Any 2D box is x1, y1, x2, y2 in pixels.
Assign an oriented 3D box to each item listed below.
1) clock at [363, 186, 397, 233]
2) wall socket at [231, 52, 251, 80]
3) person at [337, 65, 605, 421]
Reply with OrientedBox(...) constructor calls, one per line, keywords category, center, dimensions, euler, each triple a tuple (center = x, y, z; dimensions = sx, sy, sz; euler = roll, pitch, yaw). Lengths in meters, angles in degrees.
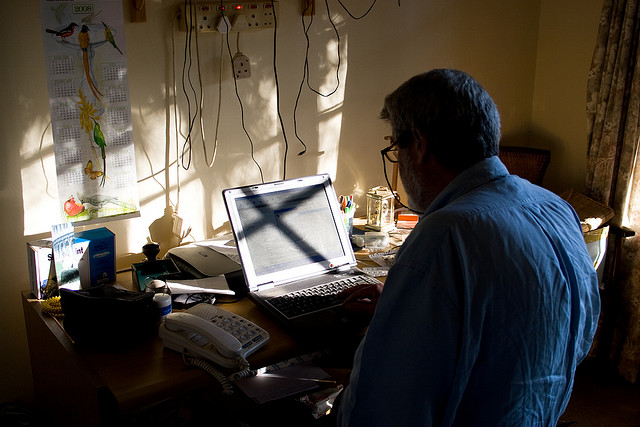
OrientedBox(category="clock", center=(0.358, -0.021, 2.806), dimensions=(0.184, 0.258, 0.181), euler=(-22, 31, -40))
OrientedBox(category="wall socket", center=(-0.425, -0.793, 2.530), dimensions=(0.092, 0.124, 0.058), euler=(-16, 32, -18))
OrientedBox(category="person", center=(0.420, 0.122, 1.404), dimensions=(0.777, 1.083, 0.387), euler=(-9, 13, -21))
